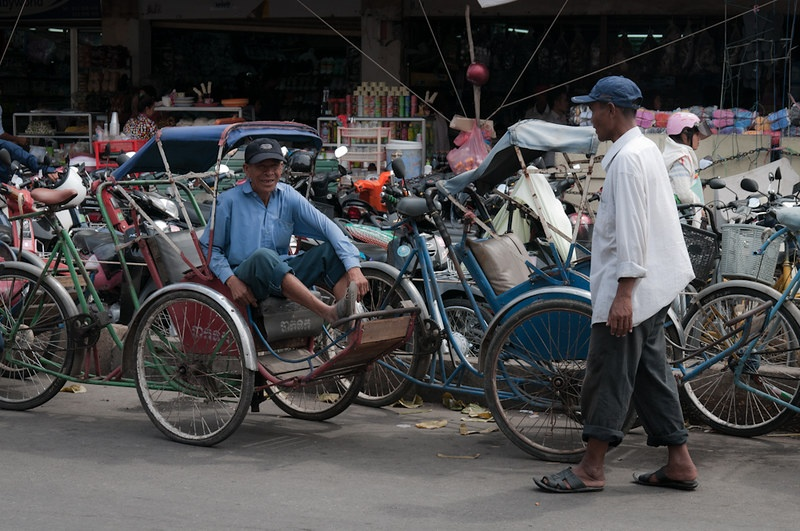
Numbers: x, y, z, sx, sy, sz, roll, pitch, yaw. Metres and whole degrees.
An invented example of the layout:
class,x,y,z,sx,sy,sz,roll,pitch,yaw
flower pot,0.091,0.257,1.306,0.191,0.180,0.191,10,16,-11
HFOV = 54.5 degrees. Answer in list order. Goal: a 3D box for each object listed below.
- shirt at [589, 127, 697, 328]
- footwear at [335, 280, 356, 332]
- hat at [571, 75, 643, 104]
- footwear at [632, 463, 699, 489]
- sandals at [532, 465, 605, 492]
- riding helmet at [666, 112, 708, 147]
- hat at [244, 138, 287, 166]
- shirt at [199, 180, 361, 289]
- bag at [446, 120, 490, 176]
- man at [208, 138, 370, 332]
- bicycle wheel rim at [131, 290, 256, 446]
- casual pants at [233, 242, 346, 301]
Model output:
class,x,y,z,sx,sy,sz,roll,pitch,yaw
shirt,1.571,-0.261,5.135,0.679,1.239,1.141,6,18,25
footwear,-0.369,0.273,5.457,0.157,0.399,0.121,12,21,0
hat,1.338,-1.101,4.981,0.357,0.140,0.228,4,9,19
footwear,1.725,1.386,5.047,0.383,0.111,0.152,3,-1,30
sandals,1.074,1.376,4.989,0.391,0.145,0.170,4,-7,-6
riding helmet,2.915,-1.379,7.832,0.450,0.271,0.286,-5,7,0
hat,-1.017,-0.856,5.797,0.261,0.193,0.229,-2,10,-14
shirt,-0.919,-0.286,5.925,1.179,0.705,0.804,-6,5,4
bag,0.968,-1.679,11.145,0.613,0.824,0.411,6,11,-13
man,-0.803,-0.268,5.735,1.596,1.150,0.815,17,17,40
bicycle wheel rim,-1.582,0.707,5.889,1.303,1.178,0.668,9,13,43
casual pants,-0.780,0.046,5.870,0.703,0.379,0.927,-10,-5,-16
